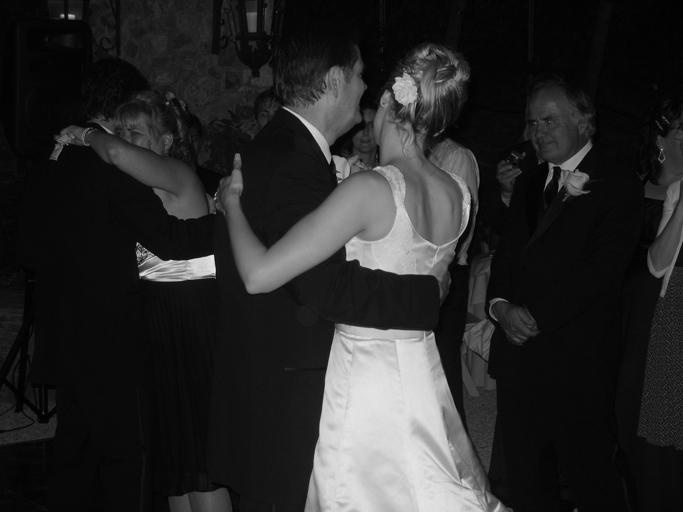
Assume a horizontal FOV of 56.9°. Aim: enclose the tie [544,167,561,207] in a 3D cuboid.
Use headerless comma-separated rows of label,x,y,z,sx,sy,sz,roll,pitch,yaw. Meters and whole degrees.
tie,0.946,-0.307,2.820,0.047,0.214,0.056,22,-18,-7
